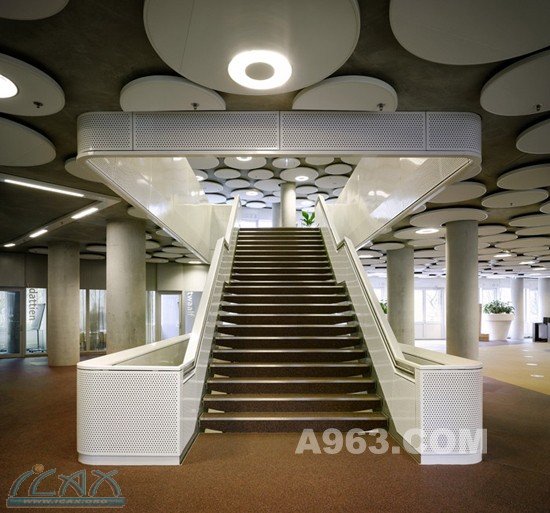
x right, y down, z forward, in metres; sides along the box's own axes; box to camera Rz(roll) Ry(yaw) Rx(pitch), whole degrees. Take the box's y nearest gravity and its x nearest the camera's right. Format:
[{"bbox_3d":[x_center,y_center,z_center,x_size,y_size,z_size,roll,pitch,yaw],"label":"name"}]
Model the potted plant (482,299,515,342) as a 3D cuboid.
[{"bbox_3d":[13.032,3.710,23.632,1.390,2.275,1.240,-1,-7,5],"label":"potted plant"}]
